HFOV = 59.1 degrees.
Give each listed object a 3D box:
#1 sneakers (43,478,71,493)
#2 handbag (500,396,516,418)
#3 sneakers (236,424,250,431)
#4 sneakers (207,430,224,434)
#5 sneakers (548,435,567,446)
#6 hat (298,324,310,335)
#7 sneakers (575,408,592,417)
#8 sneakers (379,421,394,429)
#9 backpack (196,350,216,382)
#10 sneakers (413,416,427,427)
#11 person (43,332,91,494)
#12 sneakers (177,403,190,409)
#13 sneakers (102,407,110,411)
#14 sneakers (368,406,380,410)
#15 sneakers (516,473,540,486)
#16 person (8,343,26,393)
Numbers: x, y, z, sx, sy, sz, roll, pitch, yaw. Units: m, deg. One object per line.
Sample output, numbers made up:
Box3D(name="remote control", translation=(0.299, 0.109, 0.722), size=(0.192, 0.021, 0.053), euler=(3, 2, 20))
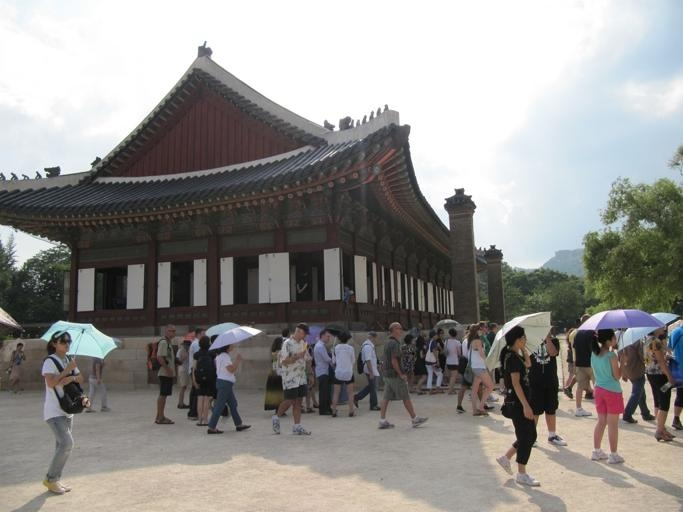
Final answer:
Box3D(name="sneakers", translation=(-4.579, 3.692, 9.647), size=(0.333, 0.146, 0.223), euler=(8, -1, 2))
Box3D(name="handbag", translation=(2.686, 2.469, 9.800), size=(0.168, 0.336, 0.251), euler=(-2, -10, 3))
Box3D(name="sneakers", translation=(-2.198, 3.832, 13.402), size=(0.299, 0.131, 0.112), euler=(1, -2, -16))
Box3D(name="sneakers", translation=(-2.734, 3.807, 13.046), size=(0.338, 0.117, 0.120), euler=(12, -11, -37))
Box3D(name="sneakers", translation=(4.130, 3.555, 11.548), size=(0.393, 0.178, 0.143), euler=(14, -7, -42))
Box3D(name="hat", translation=(-0.835, 1.543, 13.105), size=(0.144, 0.224, 0.280), euler=(-18, 39, -23))
Box3D(name="sneakers", translation=(5.646, 3.697, 14.147), size=(0.420, 0.195, 0.148), euler=(6, -8, -25))
Box3D(name="sneakers", translation=(0.997, 3.691, 13.179), size=(0.379, 0.174, 0.142), euler=(4, -6, -35))
Box3D(name="backpack", translation=(-3.160, 2.586, 13.994), size=(0.589, 0.866, 0.452), euler=(-2, -10, -2))
Box3D(name="sneakers", translation=(1.662, 3.620, 13.087), size=(0.419, 0.227, 0.165), euler=(3, -11, -23))
Box3D(name="person", translation=(-4.543, 2.536, 9.830), size=(0.658, 2.564, 0.366), euler=(2, -10, -20))
Box3D(name="sneakers", translation=(-4.371, 4.157, 16.601), size=(0.391, 0.166, 0.137), euler=(4, -10, -14))
Box3D(name="sneakers", translation=(-6.350, 4.127, 16.162), size=(0.218, 0.100, 0.090), euler=(0, -7, 4))
Box3D(name="sneakers", translation=(0.861, 3.981, 15.699), size=(0.255, 0.109, 0.097), euler=(-5, -7, 18))
Box3D(name="sneakers", translation=(2.953, 3.547, 9.582), size=(0.290, 0.123, 0.166), euler=(-2, -4, 27))
Box3D(name="person", translation=(-11.611, 3.992, 21.565), size=(0.448, 1.768, 1.059), euler=(3, -11, -28))
